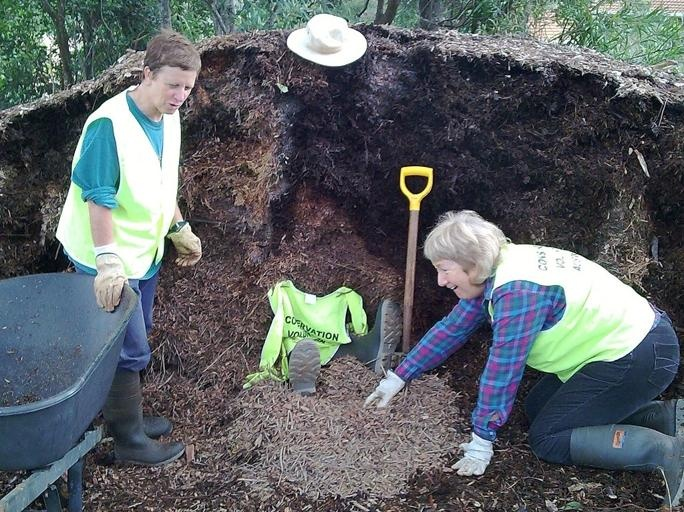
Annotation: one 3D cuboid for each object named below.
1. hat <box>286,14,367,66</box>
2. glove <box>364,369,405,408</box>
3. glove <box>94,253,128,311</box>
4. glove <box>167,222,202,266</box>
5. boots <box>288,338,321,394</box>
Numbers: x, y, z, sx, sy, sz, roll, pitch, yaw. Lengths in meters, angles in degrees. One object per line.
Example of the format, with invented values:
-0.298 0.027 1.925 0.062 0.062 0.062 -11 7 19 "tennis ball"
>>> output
-0.076 -1.638 5.560 0.483 0.158 0.530 -19 10 -9 "hat"
0.301 0.950 5.145 0.186 0.320 0.096 45 13 23 "glove"
-1.388 0.153 4.400 0.191 0.340 0.101 -1 -11 -4 "glove"
-1.098 -0.081 5.208 0.213 0.320 0.082 -12 25 -6 "glove"
-0.271 0.799 5.285 0.152 0.466 0.179 3 0 -8 "boots"
